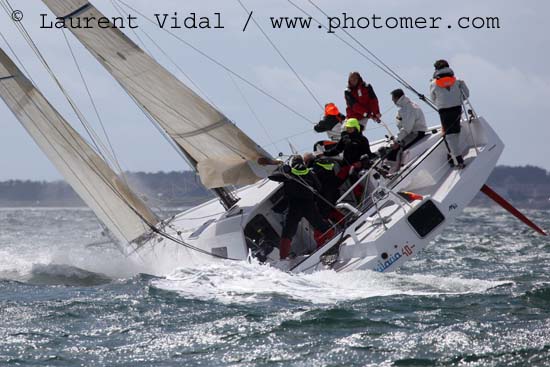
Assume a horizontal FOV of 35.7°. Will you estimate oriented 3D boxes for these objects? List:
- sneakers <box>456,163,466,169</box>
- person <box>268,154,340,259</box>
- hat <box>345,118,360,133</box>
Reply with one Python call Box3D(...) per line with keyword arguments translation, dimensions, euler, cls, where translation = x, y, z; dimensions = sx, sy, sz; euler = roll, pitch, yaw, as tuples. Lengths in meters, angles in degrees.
Box3D(translation=(3.033, -0.283, 13.971), dimensions=(0.140, 0.104, 0.052), euler=(-19, 1, 9), cls="sneakers")
Box3D(translation=(0.350, 0.351, 14.214), dimensions=(0.972, 1.781, 0.395), euler=(-22, 0, 1), cls="person")
Box3D(translation=(1.330, -1.002, 14.732), dimensions=(0.275, 0.134, 0.186), euler=(16, 4, -17), cls="hat")
